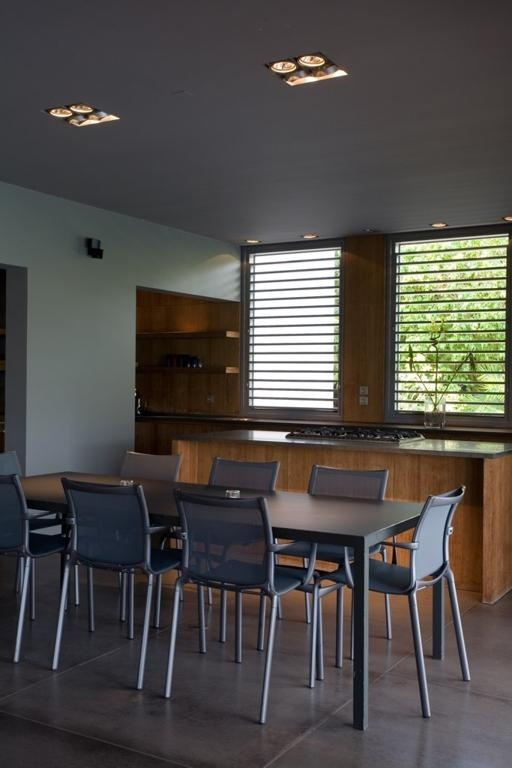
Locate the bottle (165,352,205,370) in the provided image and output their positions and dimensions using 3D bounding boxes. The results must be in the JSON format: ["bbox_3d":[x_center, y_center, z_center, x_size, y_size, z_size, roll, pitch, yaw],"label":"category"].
[{"bbox_3d":[-0.815,-0.245,7.099,0.331,0.122,0.200,0,-1,30],"label":"bottle"}]

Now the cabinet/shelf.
[{"bbox_3d":[-0.848,-0.193,6.978,1.581,1.910,0.776,-3,-6,37],"label":"cabinet/shelf"}]

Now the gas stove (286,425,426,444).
[{"bbox_3d":[0.719,0.350,4.422,0.861,0.120,0.888,-3,-7,36],"label":"gas stove"}]

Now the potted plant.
[{"bbox_3d":[1.722,-0.097,5.699,0.971,1.162,0.352,0,-1,40],"label":"potted plant"}]

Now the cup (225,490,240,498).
[{"bbox_3d":[-0.099,0.468,2.709,0.061,0.039,0.063,0,-5,0],"label":"cup"}]
